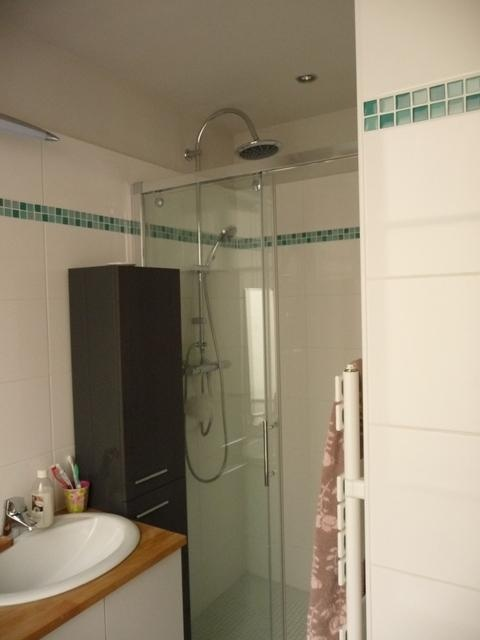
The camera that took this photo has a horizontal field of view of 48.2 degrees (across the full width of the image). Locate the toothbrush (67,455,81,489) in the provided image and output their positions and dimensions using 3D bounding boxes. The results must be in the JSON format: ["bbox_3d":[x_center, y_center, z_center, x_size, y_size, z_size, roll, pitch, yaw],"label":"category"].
[{"bbox_3d":[-0.570,0.526,1.843,0.035,0.176,0.023,-5,-1,-34],"label":"toothbrush"}]

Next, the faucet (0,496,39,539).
[{"bbox_3d":[-0.671,0.591,1.641,0.090,0.135,0.099,2,-3,19],"label":"faucet"}]

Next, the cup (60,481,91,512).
[{"bbox_3d":[-0.561,0.607,1.809,0.098,0.099,0.124,-3,4,-3],"label":"cup"}]

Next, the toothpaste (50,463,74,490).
[{"bbox_3d":[-0.604,0.555,1.848,0.039,0.043,0.165,-19,-36,-7],"label":"toothpaste"}]
